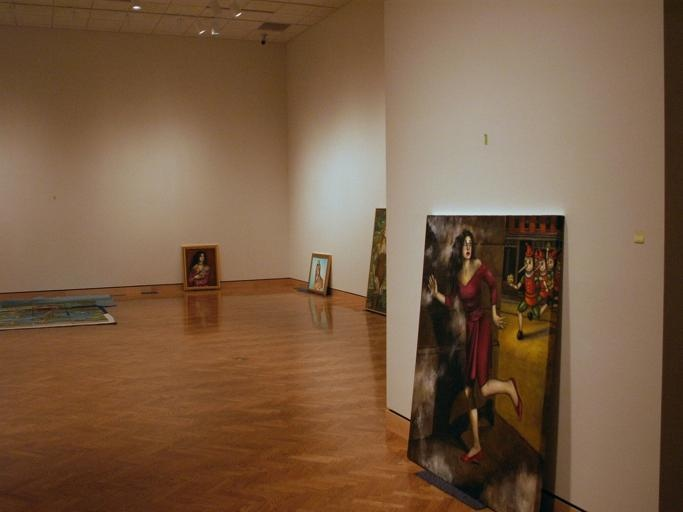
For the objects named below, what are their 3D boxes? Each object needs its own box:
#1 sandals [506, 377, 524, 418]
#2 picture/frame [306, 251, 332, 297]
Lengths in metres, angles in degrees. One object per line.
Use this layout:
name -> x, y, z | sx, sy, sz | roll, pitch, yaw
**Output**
sandals -> 1.098, 0.881, 2.919 | 0.026, 0.191, 0.051 | -5, -12, -1
picture/frame -> -0.564, 0.458, 11.954 | 0.087, 1.055, 0.935 | 6, 1, -24
